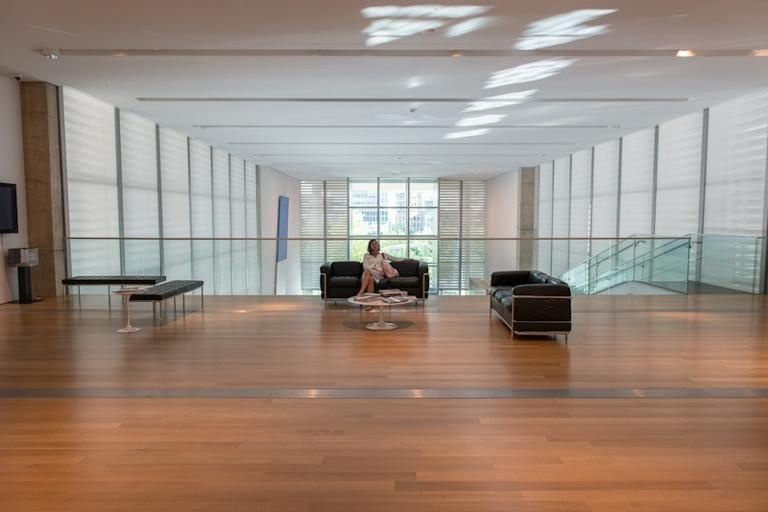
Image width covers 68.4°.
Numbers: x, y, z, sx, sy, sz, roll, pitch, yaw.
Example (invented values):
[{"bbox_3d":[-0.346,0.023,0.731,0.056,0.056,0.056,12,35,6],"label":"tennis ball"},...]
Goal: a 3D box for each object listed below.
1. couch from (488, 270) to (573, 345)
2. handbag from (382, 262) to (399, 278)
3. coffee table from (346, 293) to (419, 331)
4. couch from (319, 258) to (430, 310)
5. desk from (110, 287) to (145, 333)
[{"bbox_3d":[2.226,0.616,8.762,1.008,0.484,1.916,-3,8,0],"label":"couch"},{"bbox_3d":[0.080,0.243,10.215,0.420,0.241,0.129,0,-3,-7],"label":"handbag"},{"bbox_3d":[-0.008,0.820,8.694,0.962,0.253,0.756,-2,5,-17],"label":"coffee table"},{"bbox_3d":[-0.159,0.407,10.249,1.956,0.441,0.609,0,22,3],"label":"couch"},{"bbox_3d":[-4.006,0.804,8.872,0.365,0.621,1.631,2,0,-22],"label":"desk"}]
